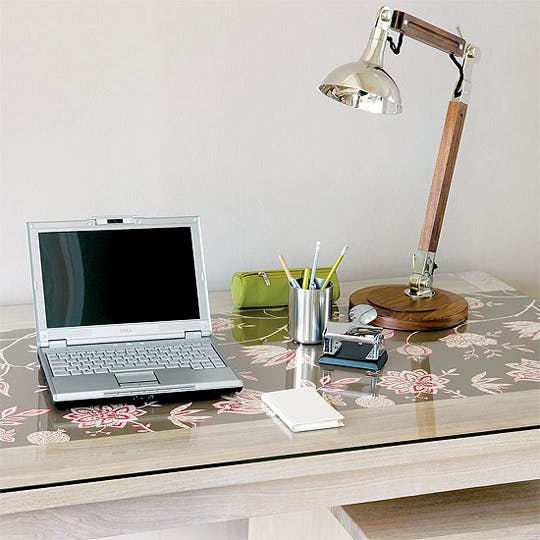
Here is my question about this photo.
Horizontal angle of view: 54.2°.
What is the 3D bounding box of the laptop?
[{"bbox_3d":[-0.235,0.071,0.868,0.362,0.202,0.329,-3,24,-25],"label":"laptop"}]
